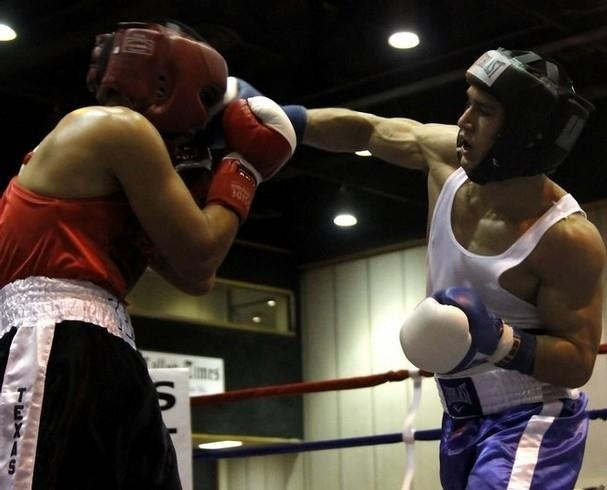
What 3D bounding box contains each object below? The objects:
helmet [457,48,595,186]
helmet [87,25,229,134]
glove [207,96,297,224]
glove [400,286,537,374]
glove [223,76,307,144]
[{"bbox_3d":[0.548,-0.335,1.582,0.332,0.331,0.292,23,29,9],"label":"helmet"},{"bbox_3d":[-0.313,-0.348,1.398,0.304,0.215,0.249,4,-3,-12],"label":"helmet"},{"bbox_3d":[-0.127,-0.217,1.503,0.195,0.139,0.323,13,-45,-18],"label":"glove"},{"bbox_3d":[0.407,0.159,1.447,0.293,0.141,0.196,-7,7,24],"label":"glove"},{"bbox_3d":[-0.107,-0.375,1.603,0.206,0.075,0.160,25,19,30],"label":"glove"}]
